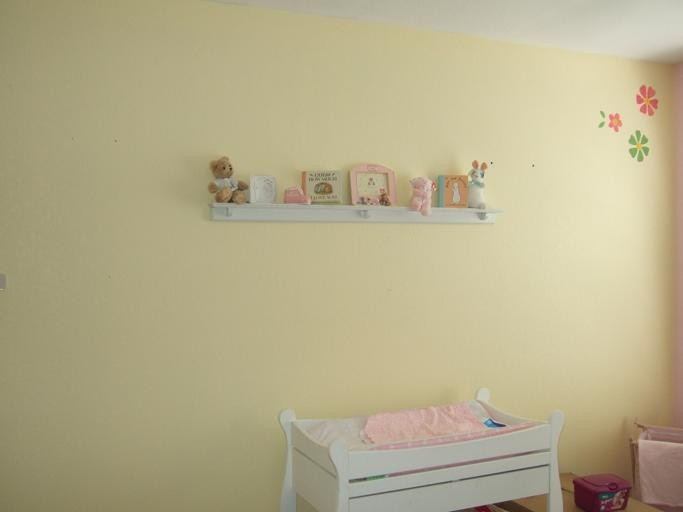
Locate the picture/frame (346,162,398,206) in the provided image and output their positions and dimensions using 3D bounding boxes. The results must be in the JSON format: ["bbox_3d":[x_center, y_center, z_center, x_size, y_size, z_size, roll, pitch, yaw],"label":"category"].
[{"bbox_3d":[0.167,-0.429,3.721,0.290,0.243,0.031,1,-8,-18],"label":"picture/frame"}]

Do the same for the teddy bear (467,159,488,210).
[{"bbox_3d":[0.868,-0.455,3.921,0.128,0.315,0.199,-1,5,15],"label":"teddy bear"}]

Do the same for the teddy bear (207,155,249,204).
[{"bbox_3d":[-0.632,-0.420,3.432,0.224,0.274,0.151,-7,6,-23],"label":"teddy bear"}]

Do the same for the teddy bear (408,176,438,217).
[{"bbox_3d":[0.485,-0.363,3.765,0.138,0.234,0.143,-2,5,6],"label":"teddy bear"}]
